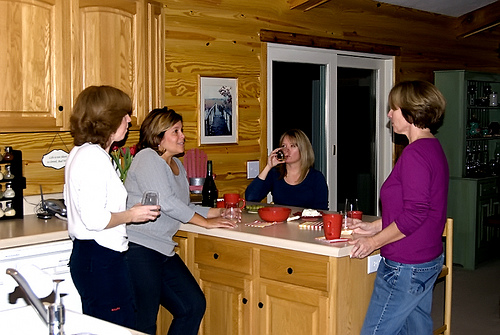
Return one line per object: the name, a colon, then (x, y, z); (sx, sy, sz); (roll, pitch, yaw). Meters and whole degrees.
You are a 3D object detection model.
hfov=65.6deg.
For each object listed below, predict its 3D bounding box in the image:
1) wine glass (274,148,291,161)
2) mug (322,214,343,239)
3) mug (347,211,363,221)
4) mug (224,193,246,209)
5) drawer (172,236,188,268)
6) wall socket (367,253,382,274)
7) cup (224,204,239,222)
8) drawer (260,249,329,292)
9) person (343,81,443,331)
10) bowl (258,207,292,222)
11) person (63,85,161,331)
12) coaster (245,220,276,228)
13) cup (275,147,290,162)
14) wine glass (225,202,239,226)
wine glass: (0.289, -0.104, 3.487); (0.134, 0.082, 0.132); (3, -1, 3)
mug: (0.464, 0.348, 2.195); (0.090, 0.114, 0.139); (4, -3, 45)
mug: (0.671, 0.300, 2.486); (0.075, 0.051, 0.069); (4, 6, 41)
mug: (-0.122, 0.240, 2.787); (0.154, 0.139, 0.098); (1, 3, 8)
drawer: (-0.499, 0.596, 2.766); (0.148, 0.202, 0.039); (4, 10, 44)
wall socket: (0.735, 0.568, 2.297); (0.127, 0.109, 0.012); (-8, 9, -34)
cup: (-0.128, 0.298, 2.611); (0.080, 0.103, 0.112); (-3, -8, 38)
drawer: (0.302, 0.617, 2.419); (0.451, 0.177, 0.326); (5, -4, 21)
person: (0.815, 0.242, 2.189); (0.495, 1.416, 0.429); (1, 8, 25)
bowl: (0.177, 0.323, 2.680); (0.185, 0.096, 0.219); (1, 7, 26)
person: (-0.781, 0.258, 2.164); (0.470, 1.412, 0.413); (-7, 8, -25)
coaster: (0.066, 0.380, 2.608); (0.152, 0.008, 0.165); (3, 9, 41)
cup: (0.285, -0.112, 3.491); (0.138, 0.082, 0.134); (-3, -1, 0)
wine glass: (-0.139, 0.320, 2.599); (0.116, 0.159, 0.116); (3, -1, -23)
